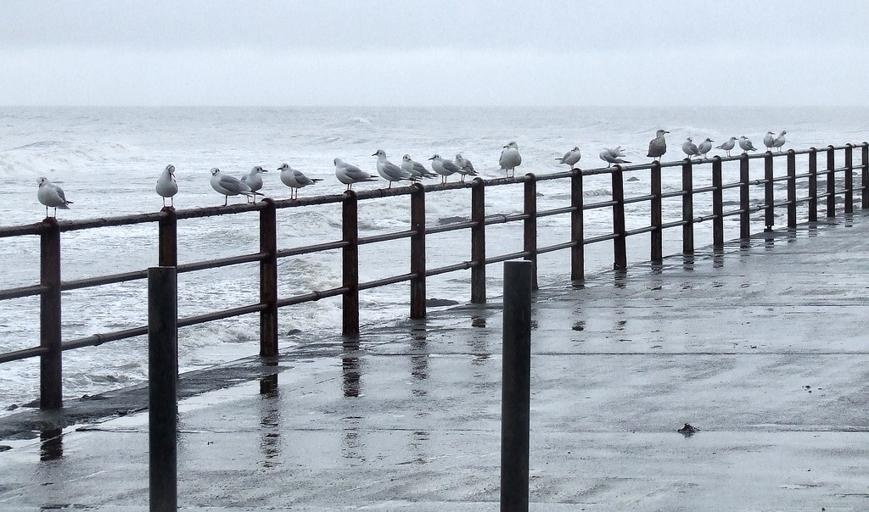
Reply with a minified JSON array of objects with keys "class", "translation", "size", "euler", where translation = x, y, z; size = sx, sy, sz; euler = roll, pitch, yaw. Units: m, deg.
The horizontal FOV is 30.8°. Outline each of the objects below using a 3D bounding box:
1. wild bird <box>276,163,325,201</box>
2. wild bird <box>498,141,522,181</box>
[{"class":"wild bird","translation":[-2.180,-1.145,24.559],"size":[0.416,0.470,0.769],"euler":[-8,-9,39]},{"class":"wild bird","translation":[1.270,-1.620,27.192],"size":[0.485,0.471,0.745],"euler":[1,-9,1]}]
